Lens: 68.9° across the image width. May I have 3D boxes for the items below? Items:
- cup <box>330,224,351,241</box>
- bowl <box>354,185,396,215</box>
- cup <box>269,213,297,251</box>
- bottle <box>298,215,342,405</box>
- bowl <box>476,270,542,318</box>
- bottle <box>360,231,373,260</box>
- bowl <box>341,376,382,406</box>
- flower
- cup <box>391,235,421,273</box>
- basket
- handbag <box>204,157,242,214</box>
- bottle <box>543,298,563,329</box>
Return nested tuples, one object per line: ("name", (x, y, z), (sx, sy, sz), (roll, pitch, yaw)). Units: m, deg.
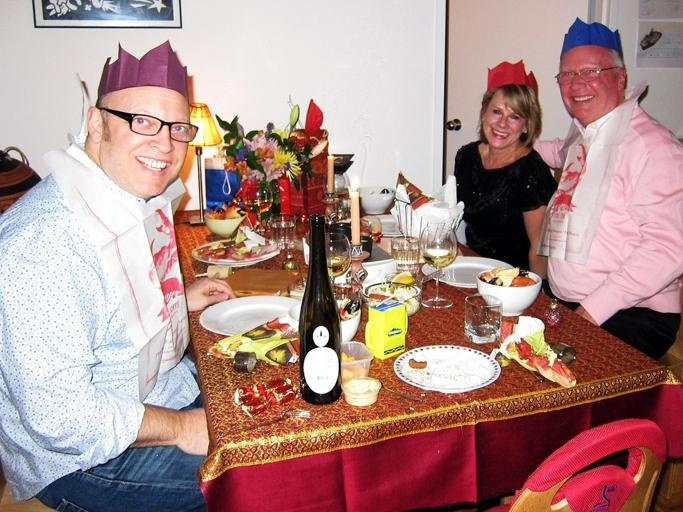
("cup", (-0.002, -0.087, 1.780), (0.063, 0.047, 0.064), (1, 15, 0))
("bowl", (0.194, -0.313, 2.756), (0.187, 0.121, 0.190), (-2, 16, 1))
("cup", (-0.253, -0.111, 2.209), (0.130, 0.150, 0.136), (0, 13, 0))
("bottle", (-0.057, 0.120, 1.136), (0.094, 0.426, 0.123), (-3, 19, 1))
("bowl", (0.511, 0.106, 1.557), (0.152, 0.099, 0.158), (-1, 13, 0))
("bottle", (0.084, -0.031, 1.759), (0.059, 0.056, 0.071), (-1, 11, 0))
("bowl", (0.047, 0.315, 1.160), (0.091, 0.040, 0.062), (-4, 20, -1))
("flower", (-0.289, -0.454, 2.625), (0.605, 0.662, 0.576), (-4, 8, -6))
("cup", (0.235, -0.010, 1.804), (0.112, 0.138, 0.120), (-3, 4, 0))
("basket", (0.351, -0.138, 2.014), (0.206, 0.130, 0.220), (2, 9, 0))
("handbag", (-0.692, -0.406, 2.913), (0.326, 0.323, 0.080), (-4, 10, 2))
("bottle", (0.626, 0.170, 1.520), (0.064, 0.106, 0.065), (2, -2, 0))
